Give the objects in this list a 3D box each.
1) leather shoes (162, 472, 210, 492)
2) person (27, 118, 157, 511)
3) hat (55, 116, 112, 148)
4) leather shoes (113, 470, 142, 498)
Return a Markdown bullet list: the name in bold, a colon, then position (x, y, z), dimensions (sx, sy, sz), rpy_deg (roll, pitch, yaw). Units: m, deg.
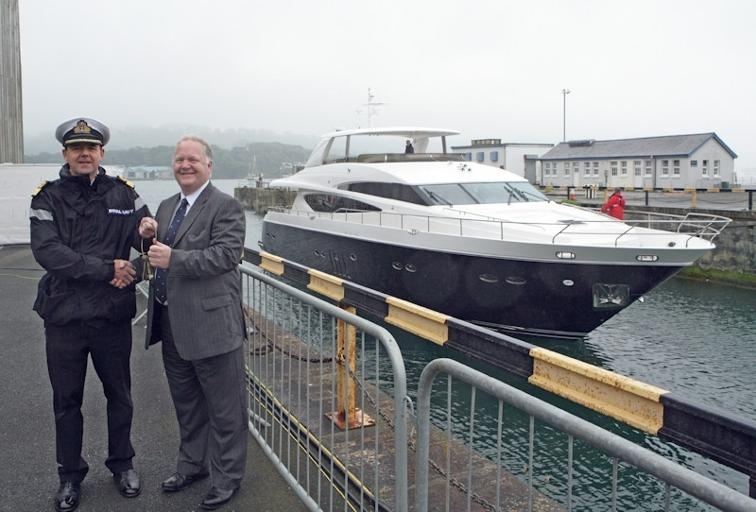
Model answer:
- **leather shoes**: position (-1.439, 1.671, 4.270), dimensions (0.295, 0.115, 0.111), rpy_deg (2, 12, -34)
- **person**: position (-2.048, 0.384, 4.179), dimensions (0.810, 2.705, 0.688), rpy_deg (-6, 13, -28)
- **hat**: position (-2.117, -0.879, 4.096), dimensions (0.324, 0.188, 0.208), rpy_deg (-5, 12, -28)
- **leather shoes**: position (-1.847, 1.678, 4.218), dimensions (0.109, 0.110, 0.302), rpy_deg (2, -3, -41)
